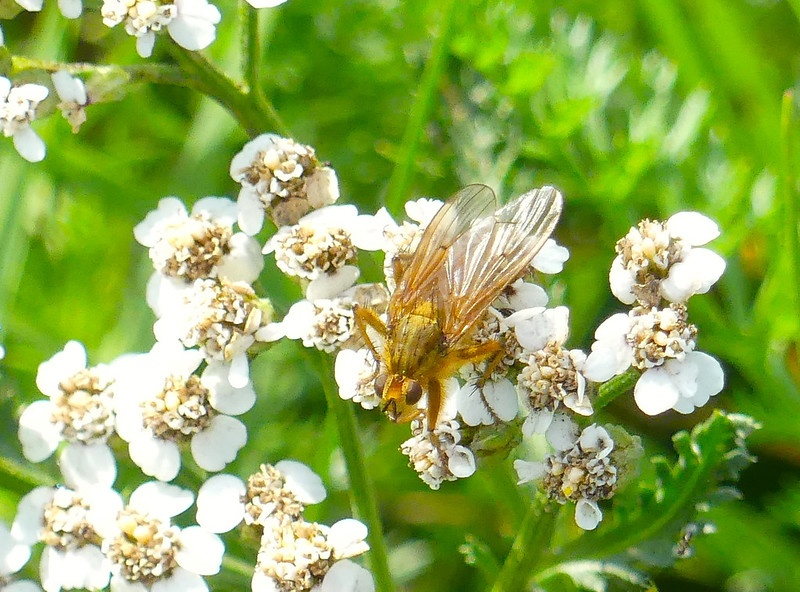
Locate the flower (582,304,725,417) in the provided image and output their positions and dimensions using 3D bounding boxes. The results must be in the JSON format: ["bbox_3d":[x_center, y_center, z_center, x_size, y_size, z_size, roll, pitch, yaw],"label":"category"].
[{"bbox_3d":[0.962,0.232,3.674,0.438,0.185,0.437,45,114,1],"label":"flower"}]

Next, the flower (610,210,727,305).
[{"bbox_3d":[1.020,-0.148,3.729,0.339,0.214,0.373,42,86,21],"label":"flower"}]
